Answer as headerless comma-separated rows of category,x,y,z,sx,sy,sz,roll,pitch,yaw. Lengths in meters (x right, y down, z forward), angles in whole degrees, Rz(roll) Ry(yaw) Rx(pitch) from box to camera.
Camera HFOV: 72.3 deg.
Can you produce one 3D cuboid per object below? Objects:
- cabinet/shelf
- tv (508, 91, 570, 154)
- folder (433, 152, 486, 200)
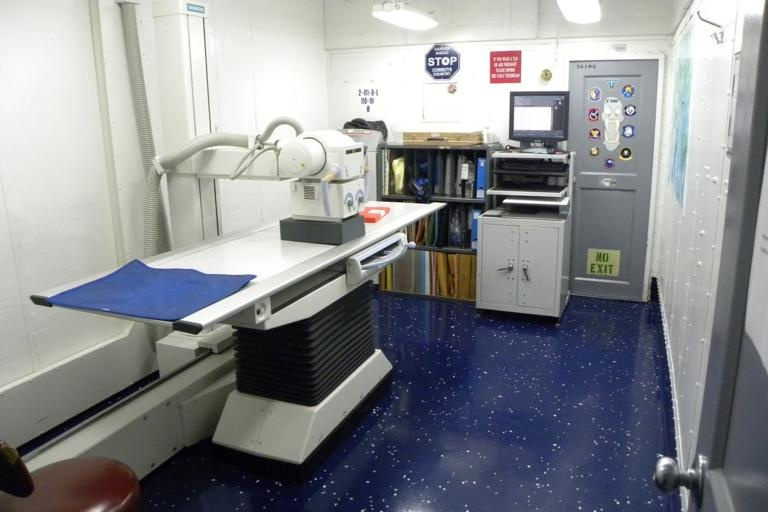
cabinet/shelf,0.936,-0.233,4.918,1.621,1.299,0.649,3,8,29
tv,1.436,-1.270,4.902,0.595,0.619,0.325,2,9,21
folder,0.760,-0.806,5.204,0.456,0.421,0.220,4,7,29
